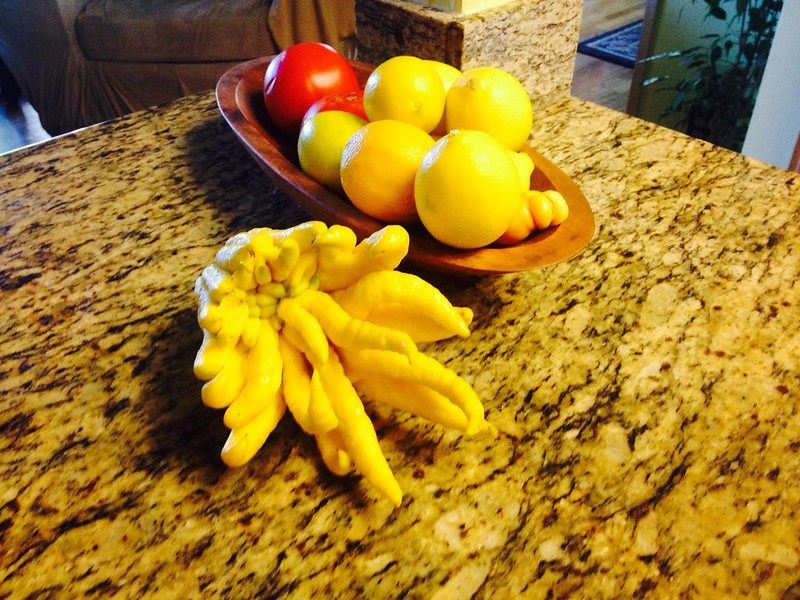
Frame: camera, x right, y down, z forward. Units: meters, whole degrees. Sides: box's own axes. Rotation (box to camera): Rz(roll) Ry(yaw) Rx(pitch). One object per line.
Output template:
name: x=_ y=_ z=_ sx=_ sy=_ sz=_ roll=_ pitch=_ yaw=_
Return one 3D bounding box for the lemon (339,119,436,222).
lemon: x=-0.024 y=-0.166 z=0.913 sx=0.096 sy=0.110 sz=0.141 roll=-4 pitch=75 yaw=-4

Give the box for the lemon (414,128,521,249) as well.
lemon: x=0.077 y=-0.127 z=0.906 sx=0.113 sy=0.163 sz=0.122 roll=-4 pitch=3 yaw=-9

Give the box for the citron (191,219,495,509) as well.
citron: x=-0.072 y=0.101 z=0.834 sx=0.308 sy=0.152 sz=0.257 roll=28 pitch=66 yaw=6

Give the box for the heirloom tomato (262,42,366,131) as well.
heirloom tomato: x=-0.164 y=-0.310 z=1.091 sx=0.108 sy=0.134 sz=0.127 roll=8 pitch=11 yaw=9

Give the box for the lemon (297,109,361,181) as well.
lemon: x=-0.098 y=-0.198 z=0.980 sx=0.087 sy=0.092 sz=0.081 roll=18 pitch=18 yaw=12
